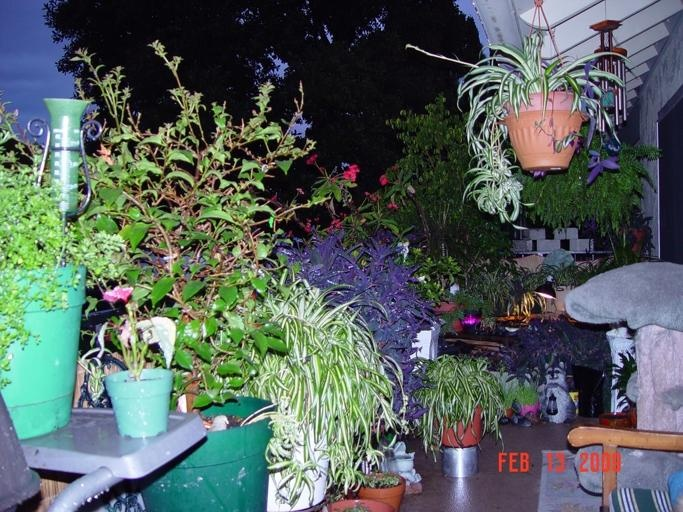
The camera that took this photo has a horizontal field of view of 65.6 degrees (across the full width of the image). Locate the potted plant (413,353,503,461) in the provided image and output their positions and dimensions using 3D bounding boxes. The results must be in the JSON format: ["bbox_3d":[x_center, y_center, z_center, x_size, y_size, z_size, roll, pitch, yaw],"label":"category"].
[{"bbox_3d":[0.685,0.876,3.316,0.617,0.482,0.657,-5,-10,35],"label":"potted plant"}]

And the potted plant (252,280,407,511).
[{"bbox_3d":[-0.048,0.453,1.811,0.513,0.760,0.359,1,-5,-24],"label":"potted plant"}]

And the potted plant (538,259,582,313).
[{"bbox_3d":[1.976,0.274,4.823,0.419,0.613,0.456,0,-5,7],"label":"potted plant"}]

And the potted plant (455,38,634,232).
[{"bbox_3d":[0.789,-0.626,2.354,0.732,0.700,0.821,1,-12,1],"label":"potted plant"}]

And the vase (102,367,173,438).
[{"bbox_3d":[-0.482,0.336,1.265,0.135,0.117,0.141,-1,-4,6],"label":"vase"}]
